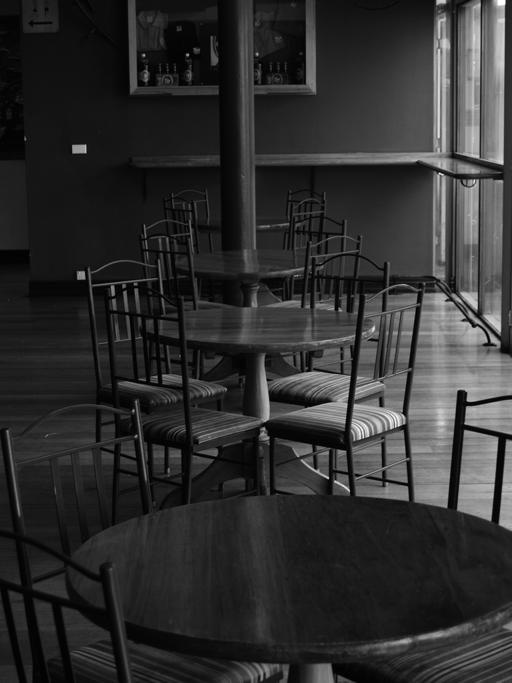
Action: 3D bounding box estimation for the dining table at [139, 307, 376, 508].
[{"bbox_3d":[-0.002,0.230,2.870,0.746,0.698,0.795,0,19,-1],"label":"dining table"}]
